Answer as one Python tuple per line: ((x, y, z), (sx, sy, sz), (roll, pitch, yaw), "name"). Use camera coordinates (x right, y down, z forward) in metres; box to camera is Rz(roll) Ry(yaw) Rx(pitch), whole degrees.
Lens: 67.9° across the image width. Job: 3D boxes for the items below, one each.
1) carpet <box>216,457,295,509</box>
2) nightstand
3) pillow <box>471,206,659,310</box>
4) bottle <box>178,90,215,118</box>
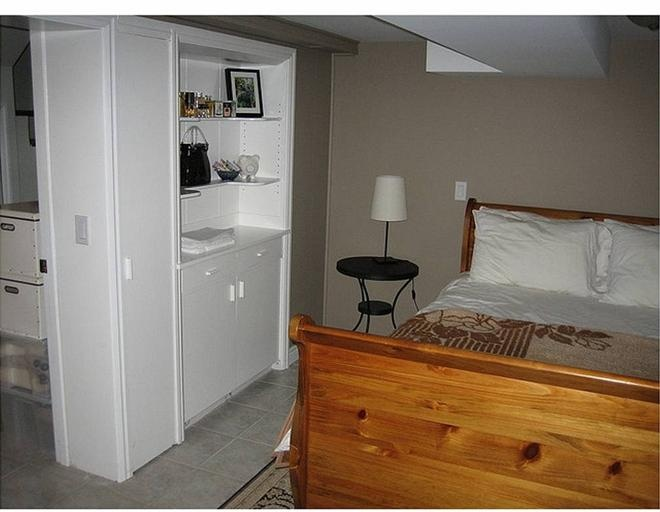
((-0.313, 1.141, 2.364), (0.254, 0.024, 0.381), (4, 14, 16), "carpet")
((0.332, 0.324, 3.585), (0.593, 0.519, 0.616), (9, 11, 28), "nightstand")
((1.401, -0.007, 3.006), (0.907, 0.540, 0.279), (5, -17, 14), "pillow")
((-0.802, -0.885, 2.893), (0.253, 0.182, 0.134), (-3, 7, -31), "bottle")
